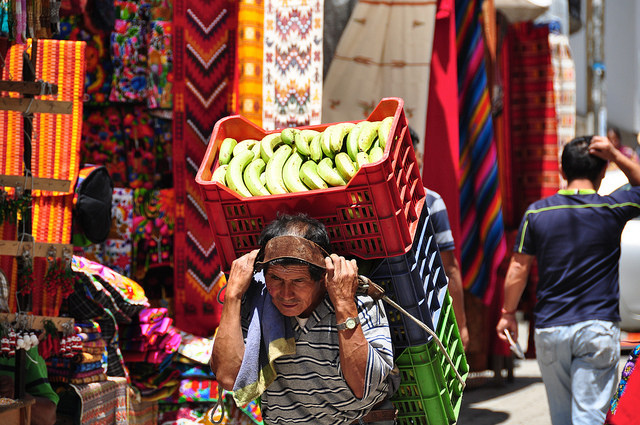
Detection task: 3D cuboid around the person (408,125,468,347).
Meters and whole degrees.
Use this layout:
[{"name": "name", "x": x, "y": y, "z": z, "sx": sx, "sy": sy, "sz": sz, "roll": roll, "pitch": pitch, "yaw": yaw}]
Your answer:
[{"name": "person", "x": 1.170, "y": 0.308, "z": 10.677, "sx": 0.324, "sy": 1.584, "sz": 1.504, "roll": -9, "pitch": -21, "yaw": 14}]

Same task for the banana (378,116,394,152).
[{"name": "banana", "x": 0.515, "y": -0.630, "z": 9.137, "sx": 0.079, "sy": 0.327, "sz": 0.107, "roll": 5, "pitch": -41, "yaw": 21}]

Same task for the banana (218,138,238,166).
[{"name": "banana", "x": -0.755, "y": -0.479, "z": 9.364, "sx": 0.096, "sy": 0.212, "sz": 0.068, "roll": 12, "pitch": -24, "yaw": 12}]

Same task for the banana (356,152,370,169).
[{"name": "banana", "x": 0.329, "y": -0.414, "z": 9.020, "sx": 0.081, "sy": 0.120, "sz": 0.060, "roll": 4, "pitch": -15, "yaw": 21}]

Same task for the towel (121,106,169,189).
[{"name": "towel", "x": -1.663, "y": -0.621, "z": 11.284, "sx": 0.498, "sy": 0.287, "sz": 0.844, "roll": -1, "pitch": 33, "yaw": 2}]

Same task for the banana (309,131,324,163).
[{"name": "banana", "x": -0.031, "y": -0.510, "z": 9.228, "sx": 0.070, "sy": 0.276, "sz": 0.082, "roll": 32, "pitch": -38, "yaw": -29}]

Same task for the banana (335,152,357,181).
[{"name": "banana", "x": 0.201, "y": -0.350, "z": 9.101, "sx": 0.106, "sy": 0.242, "sz": 0.092, "roll": -25, "pitch": -19, "yaw": -6}]

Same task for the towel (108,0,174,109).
[{"name": "towel", "x": -1.722, "y": -1.520, "z": 11.247, "sx": 0.694, "sy": 1.073, "sz": 0.330, "roll": 0, "pitch": -3, "yaw": 23}]

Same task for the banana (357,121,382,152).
[{"name": "banana", "x": 0.403, "y": -0.626, "z": 9.226, "sx": 0.092, "sy": 0.336, "sz": 0.113, "roll": 17, "pitch": -44, "yaw": 17}]

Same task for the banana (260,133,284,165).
[{"name": "banana", "x": -0.406, "y": -0.538, "z": 9.304, "sx": 0.066, "sy": 0.187, "sz": 0.330, "roll": -27, "pitch": 16, "yaw": 29}]

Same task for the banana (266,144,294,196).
[{"name": "banana", "x": -0.265, "y": -0.394, "z": 9.290, "sx": 0.100, "sy": 0.469, "sz": 0.224, "roll": 21, "pitch": -42, "yaw": -3}]

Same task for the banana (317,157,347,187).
[{"name": "banana", "x": 0.073, "y": -0.303, "z": 9.058, "sx": 0.165, "sy": 0.332, "sz": 0.093, "roll": -20, "pitch": -35, "yaw": -12}]

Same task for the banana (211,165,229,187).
[{"name": "banana", "x": -0.791, "y": -0.299, "z": 9.158, "sx": 0.094, "sy": 0.176, "sz": 0.100, "roll": 29, "pitch": -19, "yaw": -22}]

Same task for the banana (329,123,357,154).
[{"name": "banana", "x": 0.162, "y": -0.626, "z": 9.276, "sx": 0.154, "sy": 0.364, "sz": 0.101, "roll": 27, "pitch": -45, "yaw": 10}]

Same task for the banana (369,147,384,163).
[{"name": "banana", "x": 0.424, "y": -0.451, "z": 9.023, "sx": 0.108, "sy": 0.125, "sz": 0.072, "roll": -11, "pitch": -15, "yaw": 20}]

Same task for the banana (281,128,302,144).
[{"name": "banana", "x": -0.253, "y": -0.625, "z": 9.318, "sx": 0.128, "sy": 0.104, "sz": 0.052, "roll": -27, "pitch": -36, "yaw": -33}]

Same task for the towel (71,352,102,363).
[{"name": "towel", "x": -2.021, "y": 1.275, "z": 10.097, "sx": 0.084, "sy": 0.091, "sz": 0.325, "roll": -2, "pitch": -5, "yaw": 44}]

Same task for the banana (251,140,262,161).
[{"name": "banana", "x": -0.511, "y": -0.497, "z": 9.308, "sx": 0.047, "sy": 0.179, "sz": 0.054, "roll": 32, "pitch": -32, "yaw": -26}]

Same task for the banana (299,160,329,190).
[{"name": "banana", "x": -0.041, "y": -0.279, "z": 9.181, "sx": 0.107, "sy": 0.232, "sz": 0.436, "roll": 21, "pitch": 13, "yaw": 27}]

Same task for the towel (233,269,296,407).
[{"name": "towel", "x": -0.427, "y": 0.977, "z": 8.913, "sx": 0.474, "sy": 1.038, "sz": 0.263, "roll": 1, "pitch": -3, "yaw": -5}]

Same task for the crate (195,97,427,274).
[{"name": "crate", "x": 0.095, "y": -0.322, "z": 9.198, "sx": 1.742, "sy": 1.378, "sz": 1.072, "roll": -5, "pitch": -48, "yaw": 19}]

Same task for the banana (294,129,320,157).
[{"name": "banana", "x": -0.127, "y": -0.576, "z": 9.306, "sx": 0.180, "sy": 0.239, "sz": 0.058, "roll": 30, "pitch": -47, "yaw": -18}]

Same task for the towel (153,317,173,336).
[{"name": "towel", "x": -1.457, "y": 1.064, "z": 10.692, "sx": 0.080, "sy": 0.165, "sz": 0.218, "roll": 0, "pitch": -4, "yaw": 21}]

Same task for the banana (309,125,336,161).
[{"name": "banana", "x": 0.007, "y": -0.542, "z": 9.224, "sx": 0.147, "sy": 0.287, "sz": 0.078, "roll": -15, "pitch": -32, "yaw": 17}]
